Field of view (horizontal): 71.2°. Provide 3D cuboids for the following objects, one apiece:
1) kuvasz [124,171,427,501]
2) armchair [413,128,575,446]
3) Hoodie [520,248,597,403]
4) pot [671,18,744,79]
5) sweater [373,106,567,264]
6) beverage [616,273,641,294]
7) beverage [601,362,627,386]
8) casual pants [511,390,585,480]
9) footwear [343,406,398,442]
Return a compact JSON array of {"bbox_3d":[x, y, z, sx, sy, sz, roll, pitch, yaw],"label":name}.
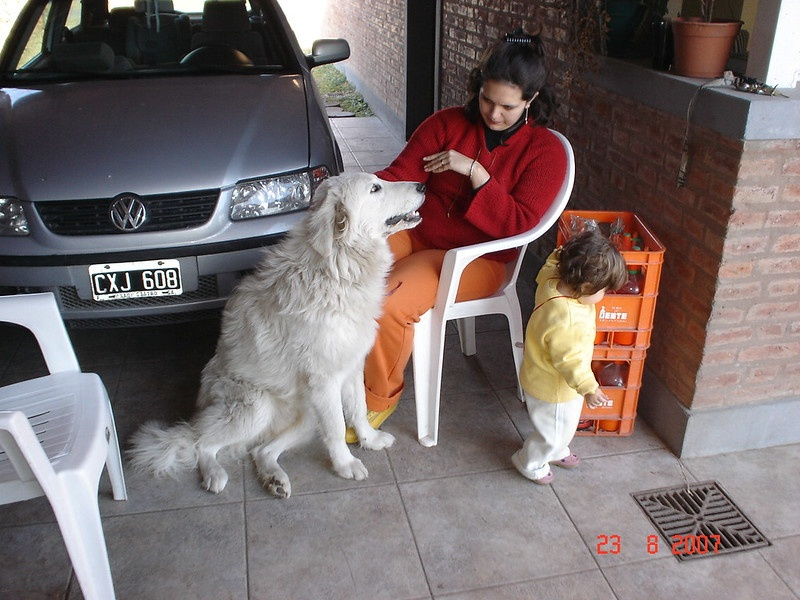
[{"bbox_3d":[-0.705,0.157,3.094,1.449,1.680,0.802,1,17,-1],"label":"kuvasz"},{"bbox_3d":[0.436,-0.123,3.444,1.055,1.342,1.053,-22,28,-33],"label":"armchair"},{"bbox_3d":[0.788,0.151,2.759,0.295,0.517,0.881,-3,38,2],"label":"Hoodie"},{"bbox_3d":[1.551,-1.289,2.917,0.316,0.253,0.321,2,26,-1],"label":"pot"},{"bbox_3d":[0.457,-0.693,3.407,1.096,0.933,0.702,29,23,36],"label":"sweater"},{"bbox_3d":[1.219,-0.081,2.945,0.153,0.090,0.068,-17,36,-27],"label":"beverage"},{"bbox_3d":[1.178,0.413,3.132,0.146,0.137,0.115,5,12,12],"label":"beverage"},{"bbox_3d":[0.796,0.666,2.959,0.364,0.608,0.315,-4,22,1],"label":"casual pants"},{"bbox_3d":[-0.166,0.717,3.287,0.121,0.150,0.375,8,17,30],"label":"footwear"}]
